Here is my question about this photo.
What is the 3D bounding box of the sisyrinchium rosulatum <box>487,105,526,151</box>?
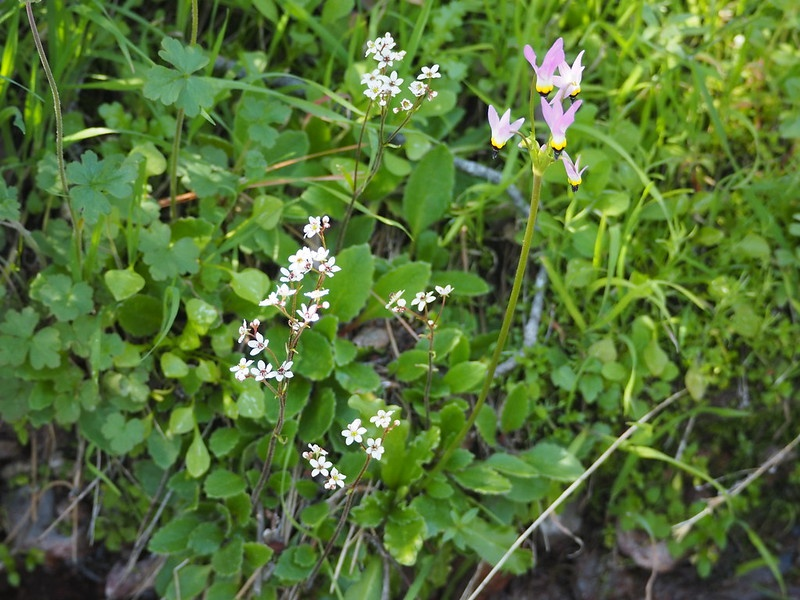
[{"bbox_3d":[0.396,-0.682,2.929,0.140,0.159,0.198,1,116,-7],"label":"sisyrinchium rosulatum"}]

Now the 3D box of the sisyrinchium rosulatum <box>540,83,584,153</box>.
[{"bbox_3d":[0.599,-0.653,2.818,0.103,0.119,0.214,-2,92,-18],"label":"sisyrinchium rosulatum"}]

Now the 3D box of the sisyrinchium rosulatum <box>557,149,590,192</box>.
[{"bbox_3d":[0.665,-0.490,2.863,0.079,0.128,0.147,6,86,-25],"label":"sisyrinchium rosulatum"}]

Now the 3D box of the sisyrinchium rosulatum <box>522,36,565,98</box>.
[{"bbox_3d":[0.553,-0.882,2.856,0.135,0.150,0.230,-2,94,-52],"label":"sisyrinchium rosulatum"}]
